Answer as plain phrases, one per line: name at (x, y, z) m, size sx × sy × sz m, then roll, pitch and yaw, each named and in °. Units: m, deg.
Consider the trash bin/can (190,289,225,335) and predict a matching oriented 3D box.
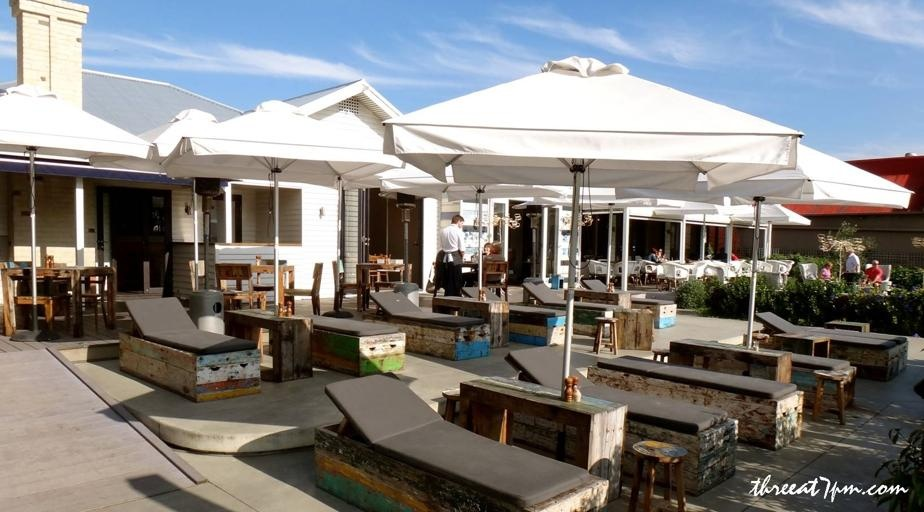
trash bin/can at (-4.740, 1.058, 12.051) m, size 0.730 × 0.808 × 0.668 m, roll -2°, pitch 14°, yaw -25°
